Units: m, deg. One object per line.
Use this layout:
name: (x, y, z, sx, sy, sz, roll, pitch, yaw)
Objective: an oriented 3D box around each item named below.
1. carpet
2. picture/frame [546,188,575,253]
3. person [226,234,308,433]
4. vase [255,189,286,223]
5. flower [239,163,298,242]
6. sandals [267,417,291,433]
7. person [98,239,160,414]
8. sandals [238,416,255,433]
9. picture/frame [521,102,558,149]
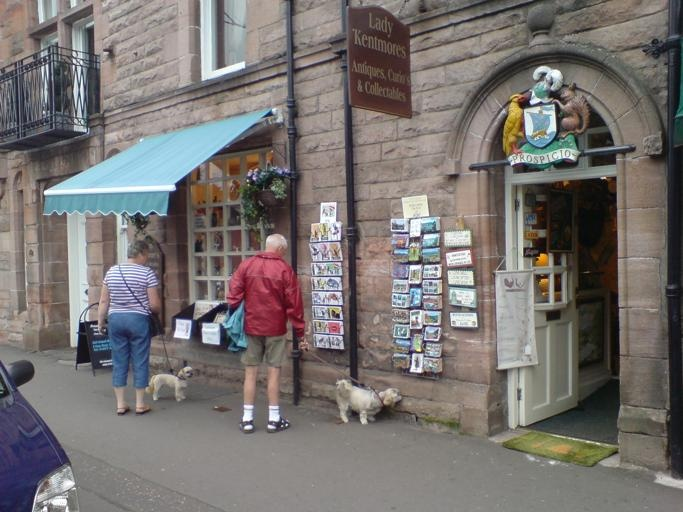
carpet: (2.438, 2.155, 8.169, 0.815, 0.031, 1.131, -3, 2, -42)
picture/frame: (2.752, -0.449, 9.211, 0.624, 0.814, 0.034, -2, 4, -42)
person: (-0.891, 0.944, 8.893, 0.937, 2.339, 0.589, -3, 8, -11)
vase: (-0.962, -0.684, 10.113, 0.408, 0.474, 0.295, 6, 11, 44)
flower: (-1.096, -0.805, 10.282, 0.990, 1.255, 0.785, 2, -4, -7)
sandals: (-0.762, 2.056, 8.880, 0.119, 0.139, 0.284, 4, 6, 41)
person: (-2.850, 0.906, 9.677, 0.821, 2.269, 0.759, 0, 8, -31)
sandals: (-1.143, 2.024, 8.874, 0.181, 0.177, 0.230, -3, 8, -9)
picture/frame: (2.144, -1.408, 7.879, 0.445, 0.615, 0.081, -5, -10, 41)
